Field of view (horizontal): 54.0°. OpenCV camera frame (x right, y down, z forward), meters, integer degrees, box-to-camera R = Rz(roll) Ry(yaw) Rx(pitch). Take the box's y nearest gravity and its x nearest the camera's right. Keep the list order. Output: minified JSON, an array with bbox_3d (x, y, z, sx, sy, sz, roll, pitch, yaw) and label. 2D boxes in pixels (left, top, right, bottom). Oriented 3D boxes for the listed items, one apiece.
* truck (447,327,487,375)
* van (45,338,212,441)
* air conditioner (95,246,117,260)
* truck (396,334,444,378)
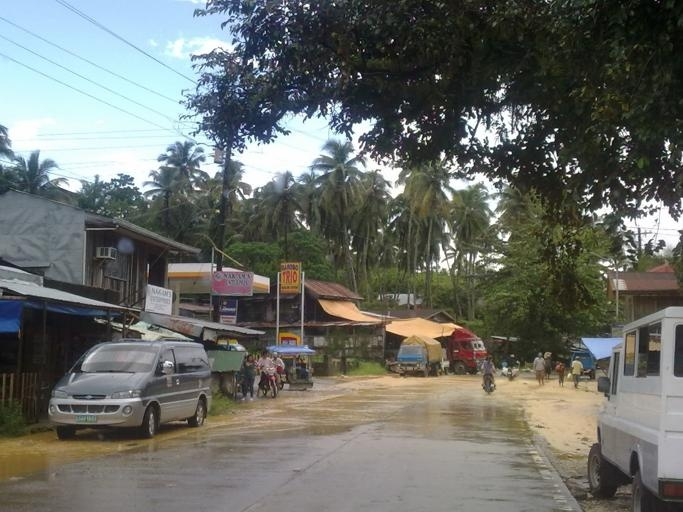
[{"bbox_3d":[11.002,8.477,59.514,3.706,3.246,2.677,-4,-4,26],"label":"truck"},{"bbox_3d":[-5.228,3.354,17.599,2.005,1.982,4.122,-3,-14,10],"label":"van"},{"bbox_3d":[-10.037,-0.139,28.667,0.360,0.486,0.824,-1,-6,-6],"label":"air conditioner"},{"bbox_3d":[6.332,7.994,53.836,1.947,3.141,4.527,-6,-14,35],"label":"truck"}]
